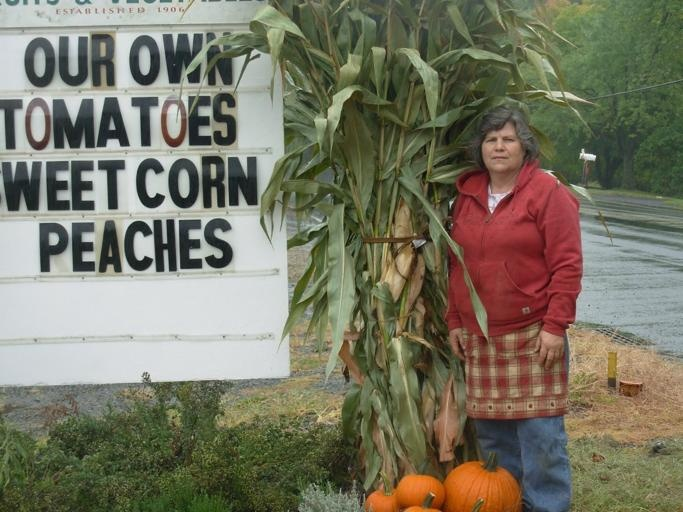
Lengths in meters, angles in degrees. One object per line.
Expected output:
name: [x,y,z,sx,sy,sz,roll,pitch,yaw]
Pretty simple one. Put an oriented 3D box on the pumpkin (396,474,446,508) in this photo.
pumpkin: [0.437,1.272,4.439,0.186,0.139,0.191,13,-20,-20]
